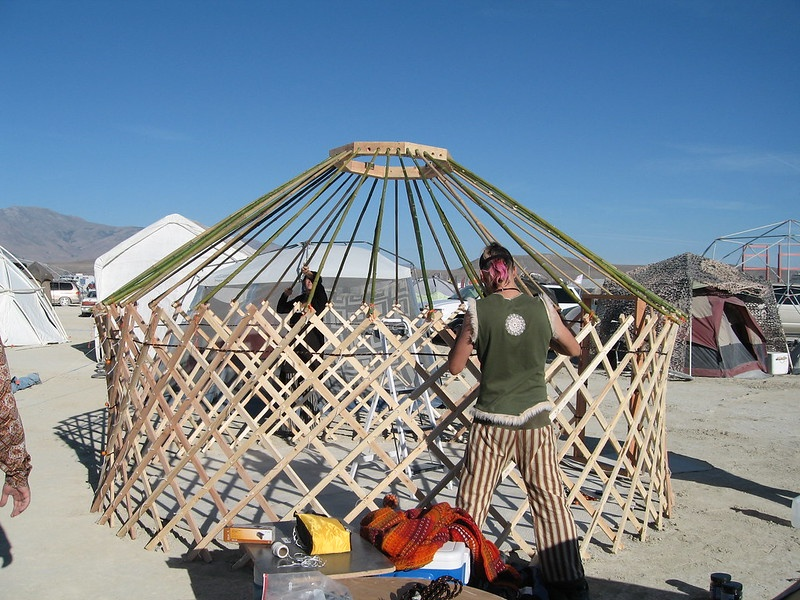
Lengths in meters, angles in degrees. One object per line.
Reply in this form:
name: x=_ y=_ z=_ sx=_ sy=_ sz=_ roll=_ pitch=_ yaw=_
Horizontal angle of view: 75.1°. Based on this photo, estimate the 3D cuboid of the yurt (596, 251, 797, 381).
yurt: x=6.513 y=0.057 z=12.462 sx=3.727 sy=2.403 sz=3.705 roll=4 pitch=15 yaw=-23

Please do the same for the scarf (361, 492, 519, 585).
scarf: x=0.246 y=1.384 z=3.053 sx=0.826 sy=0.282 sz=0.605 roll=7 pitch=-5 yaw=8

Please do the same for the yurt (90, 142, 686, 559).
yurt: x=-0.516 y=0.807 z=6.192 sx=5.262 sy=2.938 sz=4.980 roll=0 pitch=-1 yaw=-4

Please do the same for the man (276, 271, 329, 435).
man: x=-1.187 y=0.582 z=6.661 sx=0.741 sy=1.776 sz=0.518 roll=-1 pitch=-6 yaw=13
